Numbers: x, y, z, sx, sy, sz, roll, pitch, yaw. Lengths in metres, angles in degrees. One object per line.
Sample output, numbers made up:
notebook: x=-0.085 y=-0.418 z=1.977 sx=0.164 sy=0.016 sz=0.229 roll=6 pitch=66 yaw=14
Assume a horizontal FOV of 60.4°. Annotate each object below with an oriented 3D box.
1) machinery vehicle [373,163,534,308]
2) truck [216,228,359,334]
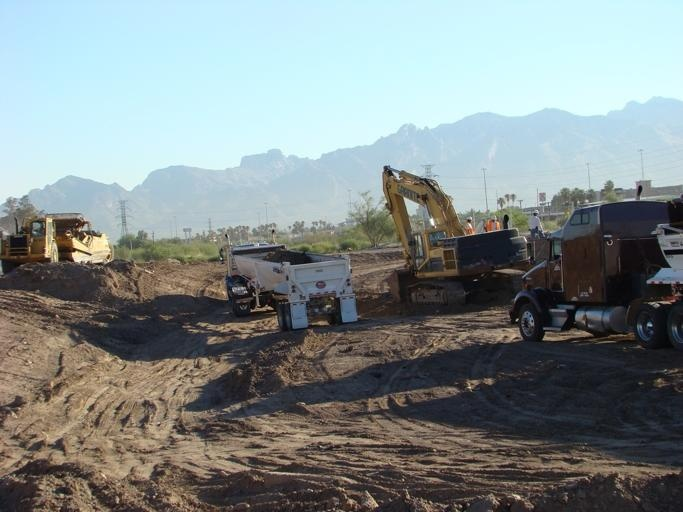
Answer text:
machinery vehicle: x=3.873 y=-0.989 z=21.617 sx=5.436 sy=4.341 sz=5.680 roll=-5 pitch=10 yaw=3
truck: x=-2.099 y=0.822 z=20.835 sx=2.461 sy=2.450 sz=6.174 roll=-2 pitch=7 yaw=-27
